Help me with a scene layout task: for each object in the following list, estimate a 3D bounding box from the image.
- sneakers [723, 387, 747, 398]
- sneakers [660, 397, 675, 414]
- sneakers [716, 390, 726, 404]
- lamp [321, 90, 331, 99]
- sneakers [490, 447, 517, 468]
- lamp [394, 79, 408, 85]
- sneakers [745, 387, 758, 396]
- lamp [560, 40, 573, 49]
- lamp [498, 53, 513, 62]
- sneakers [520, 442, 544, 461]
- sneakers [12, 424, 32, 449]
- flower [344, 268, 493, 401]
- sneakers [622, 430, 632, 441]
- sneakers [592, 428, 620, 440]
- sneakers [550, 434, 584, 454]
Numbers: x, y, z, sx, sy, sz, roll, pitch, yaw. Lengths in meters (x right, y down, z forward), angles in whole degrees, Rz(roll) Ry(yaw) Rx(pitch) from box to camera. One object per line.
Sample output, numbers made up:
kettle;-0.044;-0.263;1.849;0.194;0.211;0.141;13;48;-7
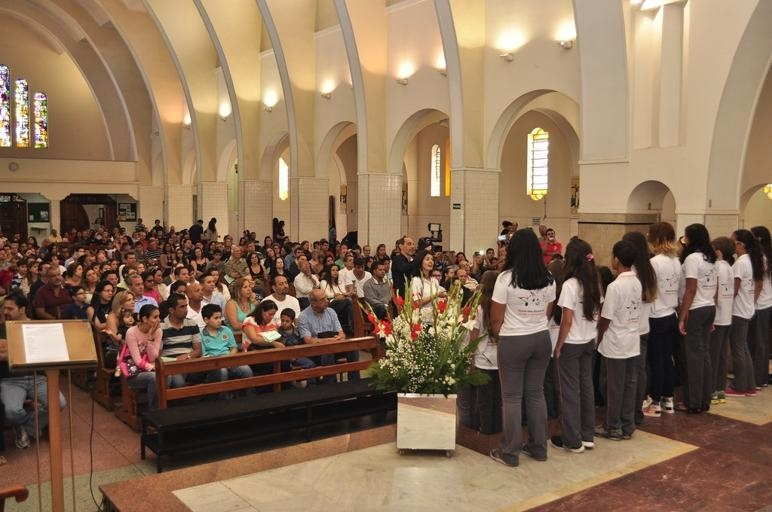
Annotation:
sneakers;4.504;1.763;7.662;0.114;0.128;0.282;-5;8;-30
sneakers;3.398;1.793;7.112;0.092;0.159;0.245;-1;2;-5
sneakers;4.202;1.768;7.430;0.080;0.102;0.213;-1;7;11
lamp;-1.930;-5.319;19.627;0.244;0.264;0.174;39;24;20
sneakers;1.189;2.013;5.952;0.102;0.117;0.256;2;3;-35
lamp;0.485;-4.883;16.662;0.408;0.140;0.193;1;21;7
sneakers;4.787;1.776;7.743;0.082;0.100;0.230;-13;-20;27
lamp;4.015;-4.642;13.121;0.194;0.152;0.161;-1;3;-8
lamp;2.926;-4.773;14.357;0.182;0.205;0.350;-8;16;-31
sneakers;1.496;1.984;6.045;0.103;0.108;0.243;1;5;-23
sneakers;-4.192;2.117;6.874;0.123;0.159;0.341;6;-5;-42
flower;0.357;0.702;6.198;1.200;1.319;1.090;1;3;-8
sneakers;2.611;1.940;6.429;0.100;0.043;0.137;1;-1;19
sneakers;2.422;1.929;6.499;0.273;0.134;0.114;-4;-5;32
sneakers;1.899;1.941;6.219;0.325;0.141;0.134;8;4;40
